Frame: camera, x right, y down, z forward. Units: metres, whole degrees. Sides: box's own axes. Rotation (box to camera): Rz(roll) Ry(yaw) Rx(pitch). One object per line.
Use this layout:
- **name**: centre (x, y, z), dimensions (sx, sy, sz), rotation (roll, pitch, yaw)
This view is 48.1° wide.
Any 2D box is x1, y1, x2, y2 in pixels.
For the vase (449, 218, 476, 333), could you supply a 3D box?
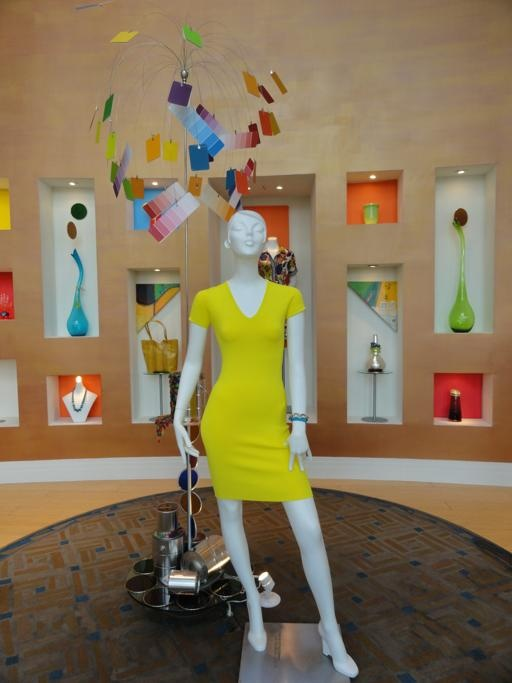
- **vase**: centre (1.620, -0.561, 4.508), dimensions (0.189, 0.970, 0.375), rotation (1, 5, 20)

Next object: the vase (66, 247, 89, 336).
- **vase**: centre (-1.463, -0.402, 4.685), dimensions (0.168, 0.720, 0.387), rotation (-2, 5, -16)

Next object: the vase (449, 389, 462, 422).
- **vase**: centre (1.595, 0.515, 4.592), dimensions (0.096, 0.237, 0.175), rotation (0, 5, 17)

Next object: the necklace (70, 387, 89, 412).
- **necklace**: centre (-1.430, 0.472, 4.647), dimensions (0.122, 0.170, 0.120), rotation (-3, 5, -18)

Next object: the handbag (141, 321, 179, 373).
- **handbag**: centre (-0.742, 0.052, 4.419), dimensions (0.285, 0.382, 0.275), rotation (3, 10, 28)

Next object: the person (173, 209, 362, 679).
- **person**: centre (0.050, 0.332, 2.057), dimensions (0.673, 1.594, 0.239), rotation (1, 5, 28)

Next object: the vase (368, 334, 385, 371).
- **vase**: centre (0.986, 0.098, 4.711), dimensions (0.127, 0.289, 0.341), rotation (0, 5, 11)

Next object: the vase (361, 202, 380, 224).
- **vase**: centre (0.915, -1.018, 4.579), dimensions (0.167, 0.179, 0.163), rotation (-1, -1, -1)
